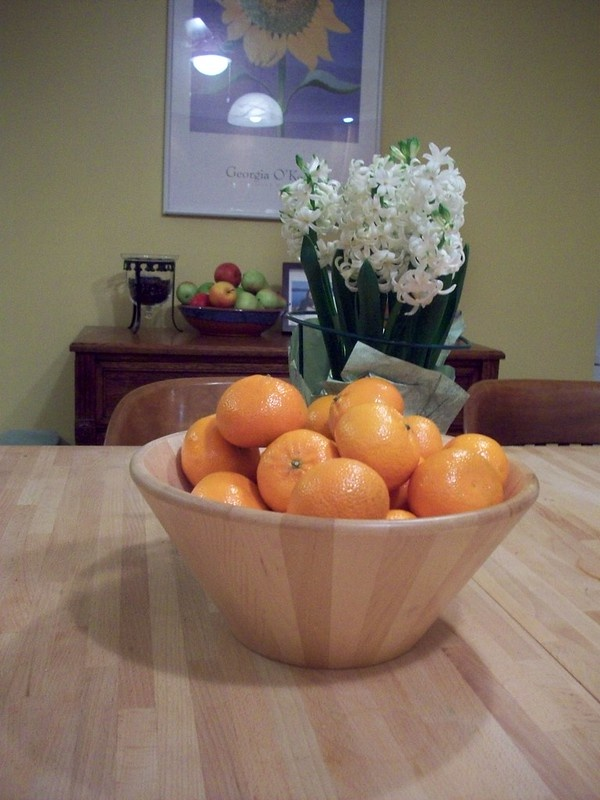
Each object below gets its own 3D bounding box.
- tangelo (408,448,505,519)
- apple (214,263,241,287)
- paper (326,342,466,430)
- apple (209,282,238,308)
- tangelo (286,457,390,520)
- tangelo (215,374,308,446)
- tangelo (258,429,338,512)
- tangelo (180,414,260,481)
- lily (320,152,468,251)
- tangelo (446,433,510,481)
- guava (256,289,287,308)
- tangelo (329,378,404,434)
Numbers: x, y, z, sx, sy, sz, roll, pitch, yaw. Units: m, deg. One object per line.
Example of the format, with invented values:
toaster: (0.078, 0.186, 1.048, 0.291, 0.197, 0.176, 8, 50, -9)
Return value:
tangelo: (0.086, 0.051, 0.385, 0.047, 0.046, 0.044, -2, -22, -5)
apple: (-0.252, -0.455, 2.315, 0.087, 0.086, 0.085, 8, 48, -2)
paper: (0.088, -0.016, 0.598, 0.106, 0.035, 0.080, 18, -34, 3)
apple: (-0.260, -0.353, 2.205, 0.095, 0.088, 0.080, 1, 8, -9)
tangelo: (0.025, 0.046, 0.339, 0.039, 0.036, 0.036, 1, 1, -1)
tangelo: (-0.027, 0.009, 0.453, 0.057, 0.046, 0.055, -3, -2, 27)
tangelo: (0.002, 0.051, 0.416, 0.057, 0.056, 0.057, 11, -17, 0)
tangelo: (-0.063, 0.041, 0.473, 0.041, 0.047, 0.041, -3, 11, -43)
lily: (0.100, -0.186, 0.610, 0.094, 0.083, 0.098, 3, 7, 3)
tangelo: (0.121, 0.032, 0.456, 0.039, 0.036, 0.036, 7, 9, -8)
guava: (-0.089, -0.350, 2.213, 0.062, 0.049, 0.081, 22, 5, -18)
tangelo: (0.052, -0.002, 0.479, 0.048, 0.053, 0.042, 7, 2, 9)
